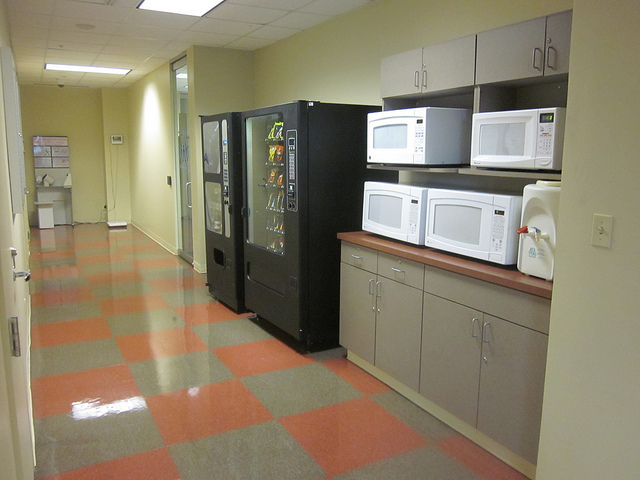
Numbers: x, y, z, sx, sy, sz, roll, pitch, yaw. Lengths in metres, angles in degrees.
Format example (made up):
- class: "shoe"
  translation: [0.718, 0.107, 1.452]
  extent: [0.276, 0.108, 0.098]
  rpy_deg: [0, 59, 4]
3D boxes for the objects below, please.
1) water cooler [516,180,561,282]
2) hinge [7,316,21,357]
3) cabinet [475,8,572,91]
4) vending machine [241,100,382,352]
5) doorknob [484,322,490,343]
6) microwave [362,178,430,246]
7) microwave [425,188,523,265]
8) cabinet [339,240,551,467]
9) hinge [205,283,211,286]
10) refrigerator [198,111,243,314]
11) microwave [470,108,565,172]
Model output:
- class: "water cooler"
  translation: [1.350, -0.064, 2.757]
  extent: [0.408, 0.570, 0.281]
  rpy_deg: [-6, 11, -23]
- class: "hinge"
  translation: [-1.275, 0.402, 1.941]
  extent: [0.022, 0.185, 0.138]
  rpy_deg: [-6, 13, -26]
- class: "cabinet"
  translation: [1.251, -1.165, 2.874]
  extent: [0.408, 0.556, 0.637]
  rpy_deg: [-4, 12, -30]
- class: "vending machine"
  translation: [-0.163, -0.262, 4.888]
  extent: [1.101, 2.361, 1.328]
  rpy_deg: [-3, 8, -30]
- class: "doorknob"
  translation: [1.027, 0.574, 2.880]
  extent: [0.038, 0.127, 0.018]
  rpy_deg: [9, 14, 36]
- class: "microwave"
  translation: [0.666, -0.234, 3.767]
  extent: [0.337, 0.410, 0.618]
  rpy_deg: [-5, 13, -40]
- class: "microwave"
  translation: [1.067, -0.107, 3.230]
  extent: [0.330, 0.427, 0.610]
  rpy_deg: [-4, 11, -43]
- class: "cabinet"
  translation: [0.994, 0.694, 3.560]
  extent: [0.690, 1.096, 2.140]
  rpy_deg: [-3, 8, -28]
- class: "hinge"
  translation: [-1.429, 0.568, 5.946]
  extent: [0.048, 0.067, 0.093]
  rpy_deg: [0, 2, -31]
- class: "refrigerator"
  translation: [-1.146, -0.328, 5.426]
  extent: [0.270, 2.212, 0.956]
  rpy_deg: [-5, 13, -25]
- class: "microwave"
  translation: [1.262, -0.638, 2.986]
  extent: [0.284, 0.350, 0.521]
  rpy_deg: [-15, 19, -43]
